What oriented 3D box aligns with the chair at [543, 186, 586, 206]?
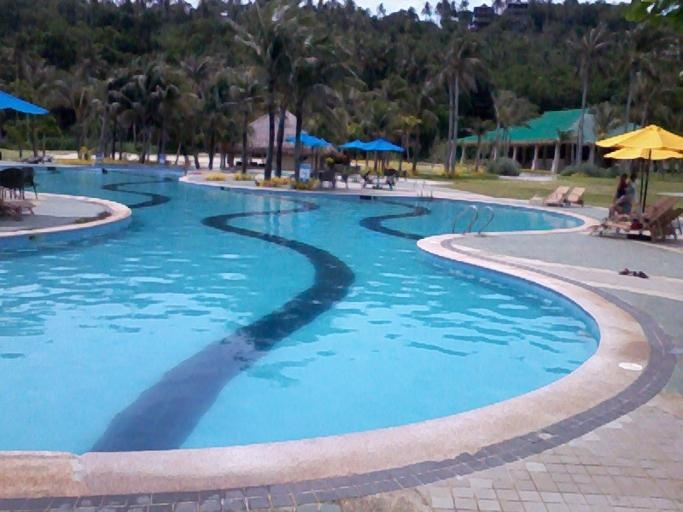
[{"bbox_3d":[9.587,-2.485,23.127,1.538,0.686,1.091,-10,13,-41],"label":"chair"}]
